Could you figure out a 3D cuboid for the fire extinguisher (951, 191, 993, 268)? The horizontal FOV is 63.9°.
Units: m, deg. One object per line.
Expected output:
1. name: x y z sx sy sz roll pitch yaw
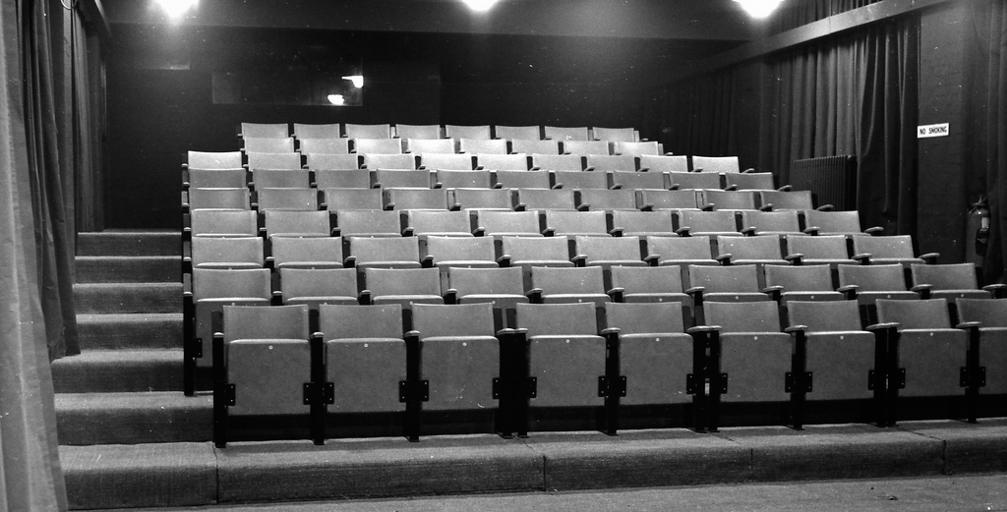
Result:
1. fire extinguisher: 3.291 -0.157 5.720 0.264 0.727 0.264 6 -4 1
